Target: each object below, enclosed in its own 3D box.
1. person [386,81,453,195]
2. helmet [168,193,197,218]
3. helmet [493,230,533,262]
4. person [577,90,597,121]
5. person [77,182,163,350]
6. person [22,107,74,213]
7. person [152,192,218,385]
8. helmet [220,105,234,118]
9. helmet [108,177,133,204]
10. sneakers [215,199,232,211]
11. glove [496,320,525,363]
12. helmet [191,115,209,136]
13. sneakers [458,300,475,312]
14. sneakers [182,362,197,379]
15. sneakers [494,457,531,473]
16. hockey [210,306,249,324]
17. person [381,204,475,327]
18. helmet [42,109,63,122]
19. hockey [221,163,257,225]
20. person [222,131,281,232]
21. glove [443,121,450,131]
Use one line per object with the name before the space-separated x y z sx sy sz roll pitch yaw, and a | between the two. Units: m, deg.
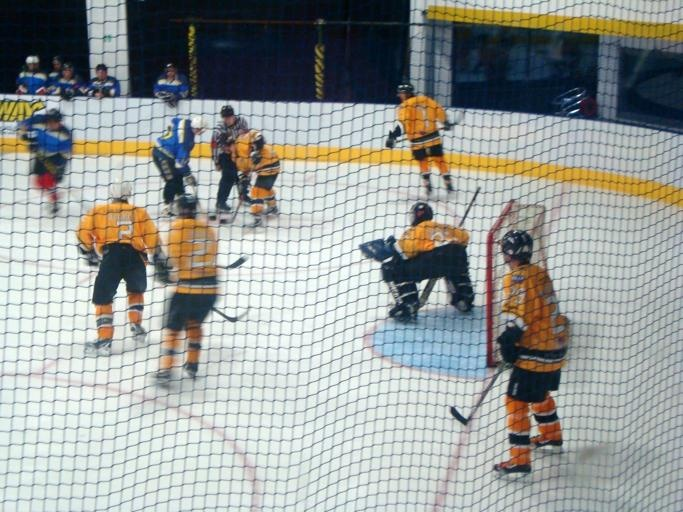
person | 1.266 -1.841 19.344 1.079 1.800 1.145 2 18 4
helmet | -2.145 -0.668 16.133 0.392 0.294 0.596 10 1 -5
helmet | 2.034 -0.112 13.735 0.417 0.352 0.422 -7 10 -25
person | 4.460 -2.738 21.927 0.314 0.370 0.985 4 15 10
person | -2.687 0.268 14.691 1.177 1.792 0.695 3 19 7
person | -4.422 -1.462 18.241 0.687 1.477 0.559 -3 19 -12
person | -1.858 0.545 14.204 0.503 1.926 0.809 12 22 30
helmet | -1.753 -2.180 18.363 0.223 0.116 0.257 -3 17 -4
helmet | -2.677 -0.806 14.785 0.290 0.253 0.299 0 14 -8
sneakers | -1.837 -0.775 18.625 0.312 0.097 0.086 5 26 1
glove | 1.866 0.960 13.431 0.353 0.396 0.173 3 -4 18
helmet | -2.152 -1.980 18.389 0.245 0.269 0.446 2 15 3
sneakers | 1.593 0.648 15.706 0.141 0.089 0.200 9 13 12
sneakers | -1.813 1.353 14.334 0.131 0.123 0.231 3 16 -8
sneakers | 1.862 2.306 13.332 0.408 0.175 0.100 4 18 11
hockey | -1.430 0.748 15.388 0.297 0.072 0.316 25 16 40
person | 1.052 0.064 15.497 1.163 1.477 0.488 -6 20 -20
helmet | -4.307 -2.063 18.029 0.399 0.106 0.370 -10 13 -10
hockey | -1.545 -0.888 18.617 0.563 0.726 0.372 6 -9 45
person | -1.350 -1.197 18.365 0.752 1.370 1.152 -1 17 -5
glove | 1.632 -1.985 18.836 0.140 0.055 0.123 -1 49 3
